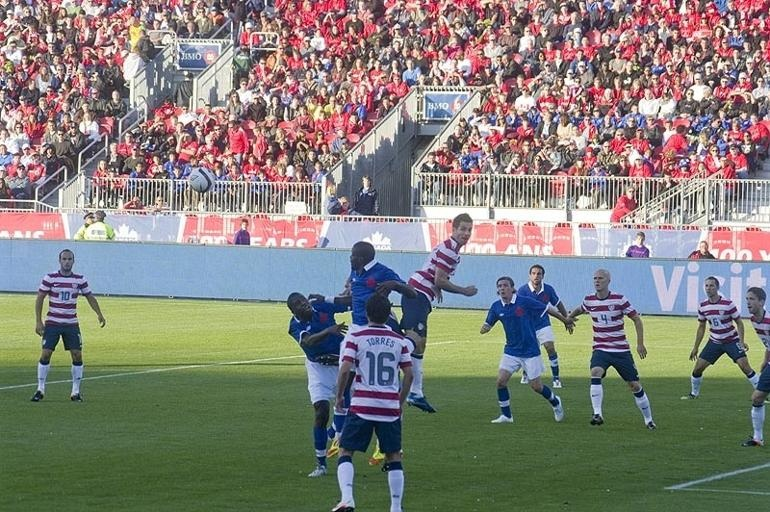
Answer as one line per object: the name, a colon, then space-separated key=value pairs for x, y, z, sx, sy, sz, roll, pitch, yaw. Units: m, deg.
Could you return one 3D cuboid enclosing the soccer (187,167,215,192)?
soccer: x=-6.341 y=-2.609 z=53.203 sx=0.684 sy=0.891 sz=0.920 roll=4 pitch=-4 yaw=-9
